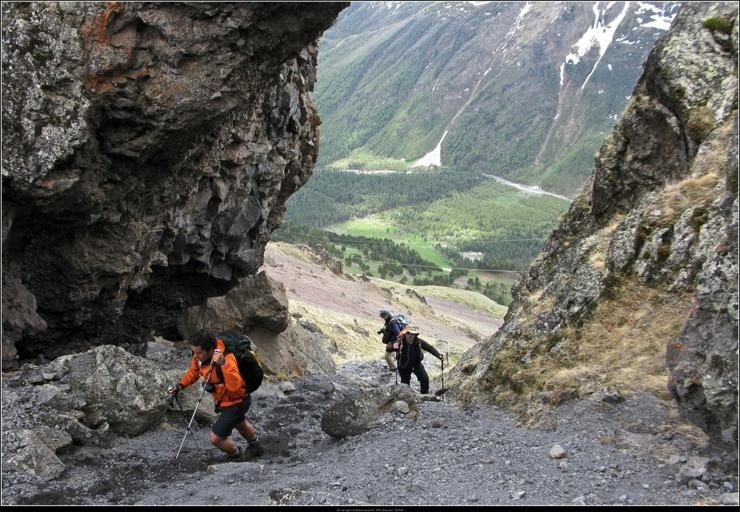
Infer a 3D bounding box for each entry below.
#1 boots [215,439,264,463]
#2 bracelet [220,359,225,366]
[{"bbox_3d":[-3.223,4.808,14.069,0.751,0.251,0.502,40,12,-10],"label":"boots"},{"bbox_3d":[-3.348,2.397,12.952,0.132,0.133,0.124,-21,-25,16],"label":"bracelet"}]
